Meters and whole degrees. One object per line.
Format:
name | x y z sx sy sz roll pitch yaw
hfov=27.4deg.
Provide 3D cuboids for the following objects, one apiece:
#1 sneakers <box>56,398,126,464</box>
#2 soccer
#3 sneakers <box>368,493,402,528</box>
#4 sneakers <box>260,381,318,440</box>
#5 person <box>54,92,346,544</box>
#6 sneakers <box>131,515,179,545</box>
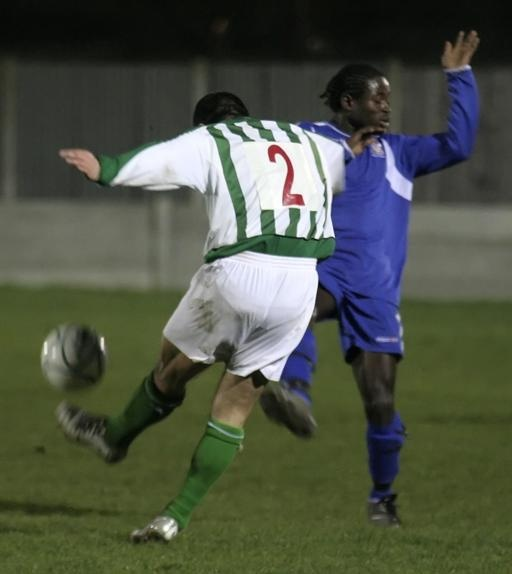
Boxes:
sneakers | -0.713 0.609 4.512 0.313 0.129 0.204 35 35 8
soccer | -0.748 0.277 4.483 0.263 0.269 0.266 7 23 6
sneakers | 0.603 0.961 4.519 0.199 0.136 0.068 10 -2 -32
sneakers | 0.153 0.514 4.636 0.289 0.178 0.119 35 25 9
person | -0.215 0.169 4.160 1.025 1.584 0.672 4 -1 3
sneakers | -0.425 0.931 4.067 0.230 0.086 0.101 -13 1 29
